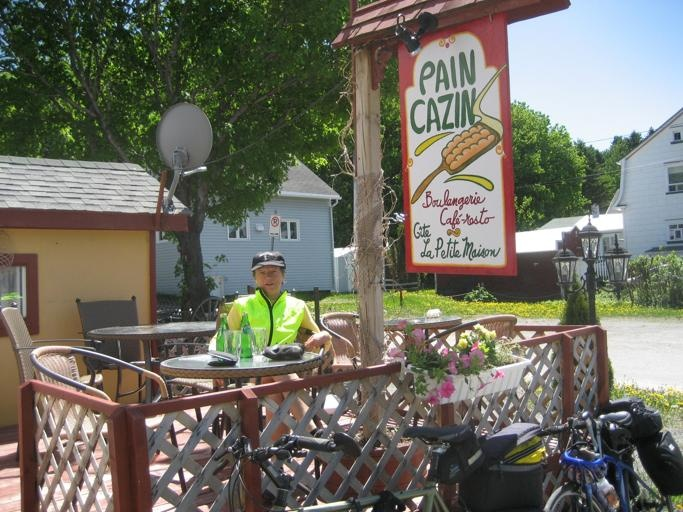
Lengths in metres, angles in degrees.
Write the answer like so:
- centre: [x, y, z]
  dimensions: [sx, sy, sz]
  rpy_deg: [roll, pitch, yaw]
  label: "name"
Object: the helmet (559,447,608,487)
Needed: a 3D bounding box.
- centre: [2.349, 2.021, 7.956]
  dimensions: [0.292, 0.220, 0.372]
  rpy_deg: [17, 9, -27]
  label: "helmet"
